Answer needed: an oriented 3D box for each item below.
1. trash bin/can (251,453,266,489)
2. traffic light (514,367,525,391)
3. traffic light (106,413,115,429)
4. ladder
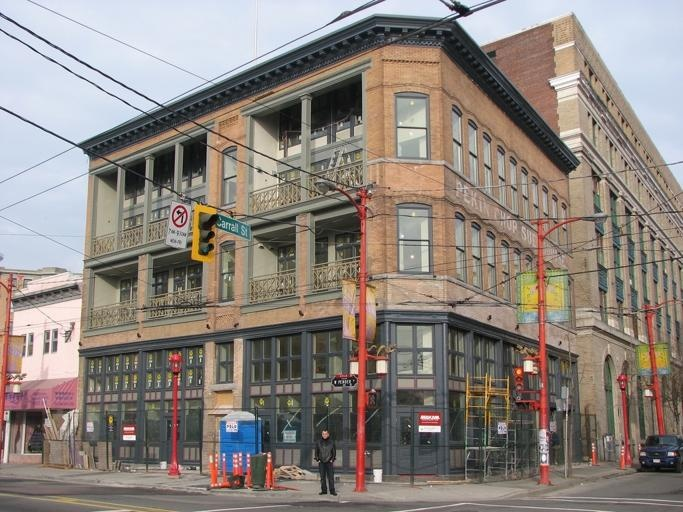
[{"bbox_3d":[-3.649,9.482,41.232,0.719,1.497,0.543,1,-18,-8],"label":"trash bin/can"},{"bbox_3d":[8.351,5.864,44.426,0.421,1.128,0.419,-8,-19,20],"label":"traffic light"},{"bbox_3d":[-13.926,10.048,56.585,0.498,0.966,0.382,5,-19,-20],"label":"traffic light"},{"bbox_3d":[7.481,8.676,47.646,2.137,5.878,1.469,-6,-11,24],"label":"ladder"}]
